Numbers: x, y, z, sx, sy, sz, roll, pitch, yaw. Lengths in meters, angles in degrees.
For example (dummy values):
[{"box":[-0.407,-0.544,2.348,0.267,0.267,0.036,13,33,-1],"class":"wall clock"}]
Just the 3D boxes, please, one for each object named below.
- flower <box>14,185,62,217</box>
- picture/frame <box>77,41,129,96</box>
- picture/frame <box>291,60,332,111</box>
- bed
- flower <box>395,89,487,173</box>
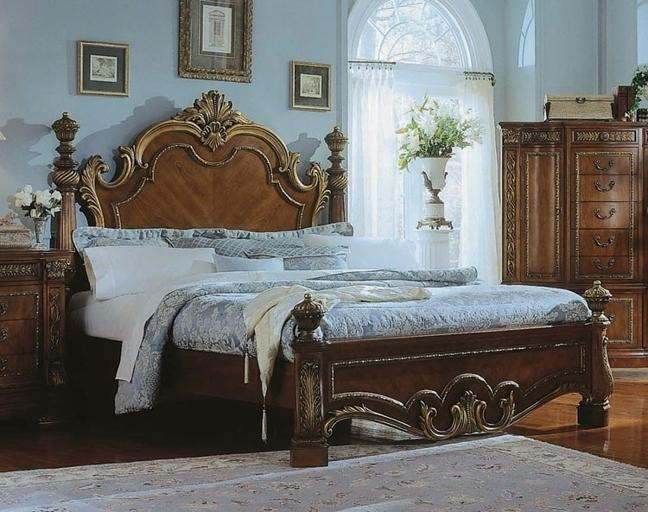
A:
[{"box":[-1.816,-0.337,4.289,0.283,0.221,0.268,0,-2,-24],"class":"flower"},{"box":[-1.529,-1.267,4.617,0.451,0.423,0.034,-1,-1,-29],"class":"picture/frame"},{"box":[-0.110,-1.337,5.346,0.478,0.427,0.047,0,0,-27],"class":"picture/frame"},{"box":[-0.115,-0.233,4.241,2.478,2.036,2.940,0,-1,-39],"class":"bed"},{"box":[1.021,-1.043,5.818,0.792,0.501,0.778,0,8,24],"class":"flower"}]
